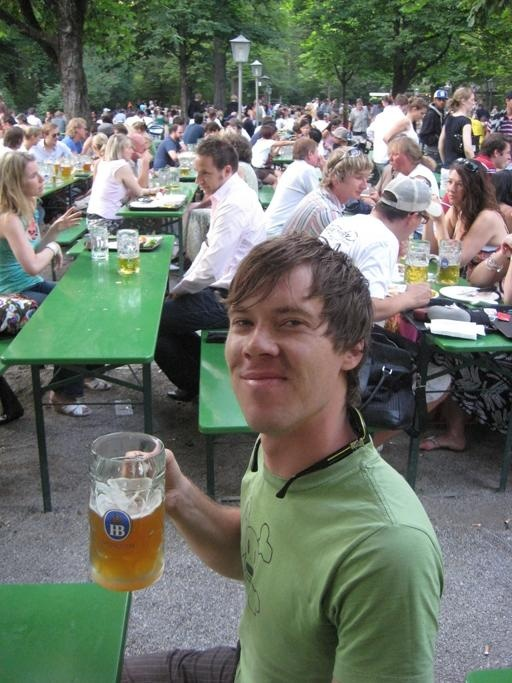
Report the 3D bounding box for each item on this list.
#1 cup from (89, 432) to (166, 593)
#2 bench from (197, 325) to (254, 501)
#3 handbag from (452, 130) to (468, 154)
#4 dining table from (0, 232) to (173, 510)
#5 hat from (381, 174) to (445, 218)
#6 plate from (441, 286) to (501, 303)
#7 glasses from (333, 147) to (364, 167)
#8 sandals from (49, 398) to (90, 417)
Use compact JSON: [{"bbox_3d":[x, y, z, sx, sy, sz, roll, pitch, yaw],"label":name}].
[{"bbox_3d":[-0.210,0.288,0.968,0.122,0.261,0.168,-1,17,-10],"label":"cup"},{"bbox_3d":[-0.149,0.353,2.592,0.238,0.348,0.963,-4,30,-3],"label":"bench"},{"bbox_3d":[3.232,-3.200,9.415,0.247,0.362,0.133,3,9,2],"label":"handbag"},{"bbox_3d":[-0.989,0.136,3.337,0.538,0.623,1.704,5,31,-1],"label":"dining table"},{"bbox_3d":[0.848,-0.831,3.354,0.288,0.197,0.242,2,16,2],"label":"hat"},{"bbox_3d":[1.364,-0.308,3.802,0.353,0.046,0.385,9,18,24],"label":"plate"},{"bbox_3d":[0.643,-1.279,4.046,0.149,0.044,0.147,-9,-23,-35],"label":"glasses"},{"bbox_3d":[-1.327,0.474,4.219,0.235,0.091,0.121,2,11,11],"label":"sandals"}]
